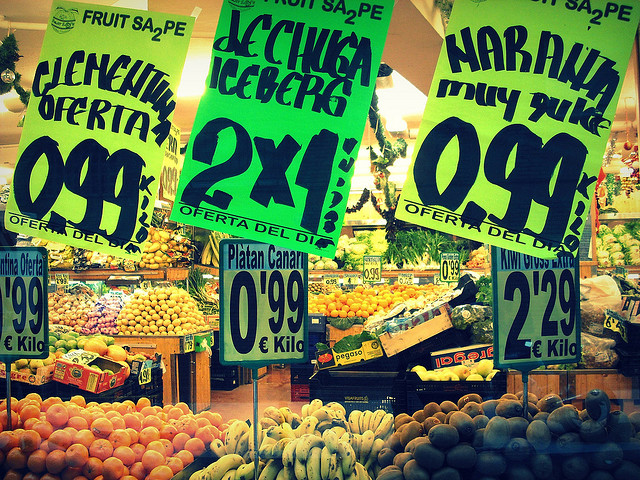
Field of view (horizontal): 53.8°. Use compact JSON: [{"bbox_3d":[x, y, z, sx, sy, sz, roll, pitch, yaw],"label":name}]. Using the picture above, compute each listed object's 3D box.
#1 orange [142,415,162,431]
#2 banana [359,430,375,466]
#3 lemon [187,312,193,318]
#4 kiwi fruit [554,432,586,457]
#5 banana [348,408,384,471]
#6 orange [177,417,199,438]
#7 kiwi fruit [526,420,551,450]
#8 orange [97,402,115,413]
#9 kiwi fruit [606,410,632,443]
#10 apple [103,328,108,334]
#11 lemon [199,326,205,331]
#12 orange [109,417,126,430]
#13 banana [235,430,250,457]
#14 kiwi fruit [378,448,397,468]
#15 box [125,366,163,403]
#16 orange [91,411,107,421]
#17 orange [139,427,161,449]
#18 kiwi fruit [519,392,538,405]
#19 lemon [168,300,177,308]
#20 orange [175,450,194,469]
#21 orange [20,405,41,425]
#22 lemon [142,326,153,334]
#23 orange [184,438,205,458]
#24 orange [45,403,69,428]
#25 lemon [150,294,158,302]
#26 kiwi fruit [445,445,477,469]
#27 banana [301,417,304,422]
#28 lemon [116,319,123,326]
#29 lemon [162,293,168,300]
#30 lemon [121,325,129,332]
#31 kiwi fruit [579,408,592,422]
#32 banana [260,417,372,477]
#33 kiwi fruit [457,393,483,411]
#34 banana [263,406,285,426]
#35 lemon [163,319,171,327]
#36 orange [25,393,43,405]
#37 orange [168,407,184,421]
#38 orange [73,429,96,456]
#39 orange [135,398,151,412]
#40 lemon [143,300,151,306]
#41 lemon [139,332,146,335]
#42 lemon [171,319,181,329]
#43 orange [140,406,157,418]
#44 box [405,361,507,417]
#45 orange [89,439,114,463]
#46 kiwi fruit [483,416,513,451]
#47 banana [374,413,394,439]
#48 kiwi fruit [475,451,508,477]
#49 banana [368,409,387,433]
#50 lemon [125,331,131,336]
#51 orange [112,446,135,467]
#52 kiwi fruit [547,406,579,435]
[{"bbox_3d":[-0.913,0.991,3.431,0.068,0.094,0.077,-8,36,-10],"label":"orange"},{"bbox_3d":[0.244,1.036,3.218,0.043,0.203,0.051,3,-34,22],"label":"banana"},{"bbox_3d":[-1.265,0.725,6.146,0.034,0.051,0.038,-2,5,3],"label":"lemon"},{"bbox_3d":[1.199,0.976,3.053,0.120,0.109,0.097,-10,-9,-23],"label":"kiwi fruit"},{"bbox_3d":[0.231,1.027,3.234,0.059,0.272,0.128,13,-34,-44],"label":"banana"},{"bbox_3d":[-0.710,1.011,3.416,0.082,0.092,0.090,18,-26,14],"label":"orange"},{"bbox_3d":[1.063,0.945,3.115,0.104,0.144,0.111,-25,-14,5],"label":"kiwi fruit"},{"bbox_3d":[-1.218,0.956,3.620,0.061,0.068,0.060,-11,-5,-43],"label":"orange"},{"bbox_3d":[1.451,0.907,3.049,0.132,0.143,0.047,5,-3,-9],"label":"kiwi fruit"},{"bbox_3d":[-2.031,0.859,5.999,0.027,0.043,0.023,-2,-15,11],"label":"apple"},{"bbox_3d":[-1.169,0.870,6.252,0.023,0.051,0.044,-13,-13,40],"label":"lemon"},{"bbox_3d":[-1.080,0.985,3.383,0.051,0.075,0.057,-3,-2,-4],"label":"orange"},{"bbox_3d":[-0.391,1.049,3.223,0.025,0.086,0.081,18,-45,-22],"label":"banana"},{"bbox_3d":[0.336,1.092,3.173,0.057,0.095,0.068,1,25,11],"label":"kiwi fruit"},{"bbox_3d":[-1.318,1.119,4.838,0.147,0.221,0.291,-1,1,15],"label":"box"},{"bbox_3d":[-1.213,0.958,3.467,0.037,0.045,0.041,-9,3,0],"label":"orange"},{"bbox_3d":[-0.905,1.043,3.362,0.077,0.085,0.079,11,17,-43],"label":"orange"},{"bbox_3d":[1.126,0.838,3.393,0.076,0.069,0.109,-4,3,-12],"label":"kiwi fruit"},{"bbox_3d":[-1.416,0.609,6.064,0.052,0.060,0.058,-10,37,-17],"label":"lemon"},{"bbox_3d":[-0.706,1.146,3.310,0.063,0.073,0.068,16,11,-31],"label":"orange"},{"bbox_3d":[-1.609,0.973,3.508,0.110,0.093,0.103,5,-2,-24],"label":"orange"},{"bbox_3d":[-1.599,0.822,5.865,0.057,0.074,0.057,-42,-29,27],"label":"lemon"},{"bbox_3d":[-0.662,1.095,3.352,0.079,0.097,0.088,11,16,28],"label":"orange"},{"bbox_3d":[-1.408,0.945,3.420,0.099,0.120,0.110,11,-31,-8],"label":"orange"},{"bbox_3d":[-1.615,0.550,6.129,0.049,0.057,0.060,1,21,-32],"label":"lemon"},{"bbox_3d":[0.677,1.042,3.020,0.115,0.107,0.094,-5,-8,4],"label":"kiwi fruit"},{"bbox_3d":[-0.093,0.946,3.330,0.007,0.035,0.032,7,-4,-26],"label":"banana"},{"bbox_3d":[-1.894,0.784,5.974,0.044,0.050,0.045,-4,-27,5],"label":"lemon"},{"bbox_3d":[-1.510,0.548,6.148,0.040,0.049,0.023,-3,6,-23],"label":"lemon"},{"bbox_3d":[-1.823,0.824,5.897,0.046,0.055,0.050,-11,-13,9],"label":"lemon"},{"bbox_3d":[1.319,0.874,3.144,0.035,0.041,0.039,-6,-39,30],"label":"kiwi fruit"},{"bbox_3d":[-0.010,1.064,3.114,0.539,0.255,0.194,6,-2,-20],"label":"banana"},{"bbox_3d":[0.812,0.875,3.423,0.080,0.077,0.119,-4,10,0],"label":"kiwi fruit"},{"bbox_3d":[-0.239,0.916,3.311,0.103,0.053,0.059,26,2,28],"label":"banana"},{"bbox_3d":[-1.429,0.774,5.898,0.046,0.038,0.065,2,16,-11],"label":"lemon"},{"bbox_3d":[-1.695,0.935,3.755,0.070,0.104,0.076,2,-7,-16],"label":"orange"},{"bbox_3d":[-0.815,0.982,3.564,0.050,0.072,0.056,2,2,2],"label":"orange"},{"bbox_3d":[-1.228,1.057,3.307,0.079,0.111,0.093,-2,38,-2],"label":"orange"},{"bbox_3d":[-1.028,0.956,3.709,0.071,0.101,0.074,-25,-32,36],"label":"orange"},{"bbox_3d":[-1.652,0.600,6.053,0.048,0.050,0.046,2,-29,1],"label":"lemon"},{"bbox_3d":[-1.647,0.865,5.861,0.031,0.024,0.026,2,3,7],"label":"lemon"},{"bbox_3d":[-1.337,0.780,5.932,0.084,0.055,0.087,6,-1,-29],"label":"lemon"},{"bbox_3d":[-0.970,0.959,3.557,0.058,0.060,0.052,0,3,-31],"label":"orange"},{"bbox_3d":[0.831,0.907,3.805,0.410,0.253,0.333,-1,-9,2],"label":"box"},{"bbox_3d":[-1.137,1.090,3.282,0.087,0.107,0.095,-1,5,28],"label":"orange"},{"bbox_3d":[0.860,0.932,3.107,0.102,0.164,0.113,18,0,-10],"label":"kiwi fruit"},{"bbox_3d":[0.347,0.955,3.315,0.046,0.184,0.063,27,-38,8],"label":"banana"},{"bbox_3d":[0.819,1.073,3.017,0.122,0.097,0.088,-2,41,2],"label":"kiwi fruit"},{"bbox_3d":[0.293,0.939,3.296,0.052,0.116,0.037,12,-43,19],"label":"banana"},{"bbox_3d":[-1.785,0.858,5.871,0.034,0.033,0.031,22,19,13],"label":"lemon"},{"bbox_3d":[-1.018,1.110,3.263,0.083,0.101,0.091,-6,-1,-5],"label":"orange"},{"bbox_3d":[1.178,0.878,3.067,0.131,0.123,0.111,-9,-15,13],"label":"kiwi fruit"}]
